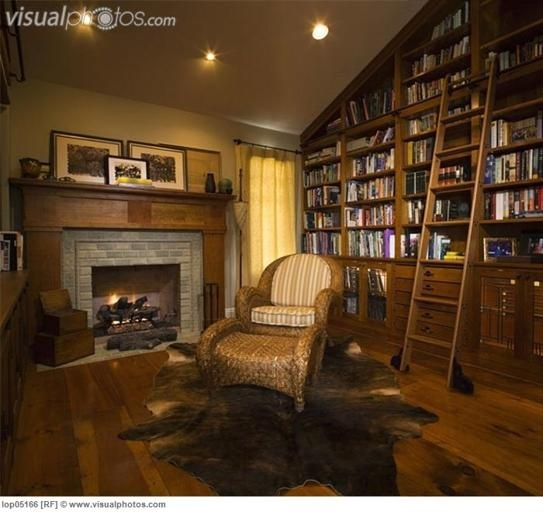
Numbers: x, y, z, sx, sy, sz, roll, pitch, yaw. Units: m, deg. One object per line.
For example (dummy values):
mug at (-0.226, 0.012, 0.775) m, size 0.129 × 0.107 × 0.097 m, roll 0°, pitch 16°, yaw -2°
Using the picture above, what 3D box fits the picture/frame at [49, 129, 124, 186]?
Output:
picture/frame at (-1.779, -0.923, 3.819) m, size 0.622 × 0.466 × 0.044 m, roll -2°, pitch 2°, yaw -42°

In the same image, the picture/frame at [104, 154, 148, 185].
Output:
picture/frame at (-1.449, -0.847, 3.969) m, size 0.360 × 0.302 × 0.025 m, roll 1°, pitch -9°, yaw -38°

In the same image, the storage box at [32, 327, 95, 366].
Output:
storage box at (-1.734, 0.656, 3.404) m, size 0.233 × 0.300 × 0.448 m, roll -2°, pitch 1°, yaw 33°

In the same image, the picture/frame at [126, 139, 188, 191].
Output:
picture/frame at (-1.210, -0.944, 4.180) m, size 0.630 × 0.549 × 0.046 m, roll -3°, pitch 2°, yaw -40°

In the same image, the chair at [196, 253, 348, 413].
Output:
chair at (0.093, 0.480, 3.125) m, size 0.844 × 0.861 × 1.387 m, roll -1°, pitch 6°, yaw 19°

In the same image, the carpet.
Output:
carpet at (0.065, 0.921, 2.418) m, size 1.777 × 0.130 × 1.375 m, roll 0°, pitch 6°, yaw 2°

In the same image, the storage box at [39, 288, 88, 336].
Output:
storage box at (-1.783, 0.456, 3.445) m, size 0.349 × 0.504 × 0.370 m, roll -4°, pitch -4°, yaw 31°

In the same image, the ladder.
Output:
ladder at (1.458, -0.376, 3.295) m, size 0.618 × 2.527 × 1.322 m, roll 2°, pitch 6°, yaw 29°

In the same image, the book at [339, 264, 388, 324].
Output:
book at (0.978, 0.386, 4.166) m, size 0.212 × 0.607 × 0.630 m, roll 2°, pitch -2°, yaw -33°
